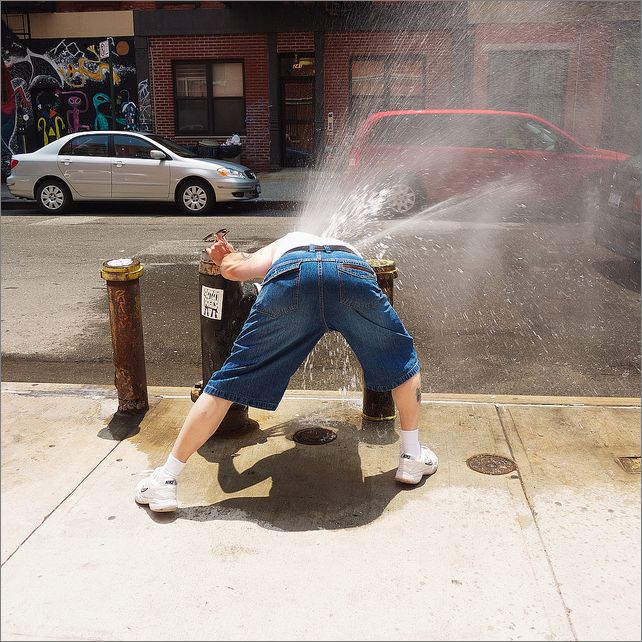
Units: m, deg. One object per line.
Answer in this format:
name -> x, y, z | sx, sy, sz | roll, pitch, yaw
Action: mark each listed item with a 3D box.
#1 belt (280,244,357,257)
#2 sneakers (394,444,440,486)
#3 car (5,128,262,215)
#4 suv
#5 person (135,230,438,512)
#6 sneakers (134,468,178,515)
belt -> 0.001, -0.312, 2.492 | 0.328, 0.048, 0.097 | -4, 13, -14
sneakers -> 0.477, 0.706, 2.879 | 0.105, 0.128, 0.278 | 4, 14, 36
car -> -4.748, -3.594, 14.095 | 5.569, 1.771, 2.273 | -1, 11, 0
suv -> 3.502, -3.556, 12.835 | 5.649, 1.920, 2.626 | -2, 11, 4
person -> -0.119, 0.159, 2.865 | 1.625, 1.462, 1.076 | 0, -15, -17
sneakers -> -0.738, 0.765, 2.606 | 0.115, 0.137, 0.286 | 2, 1, -18
